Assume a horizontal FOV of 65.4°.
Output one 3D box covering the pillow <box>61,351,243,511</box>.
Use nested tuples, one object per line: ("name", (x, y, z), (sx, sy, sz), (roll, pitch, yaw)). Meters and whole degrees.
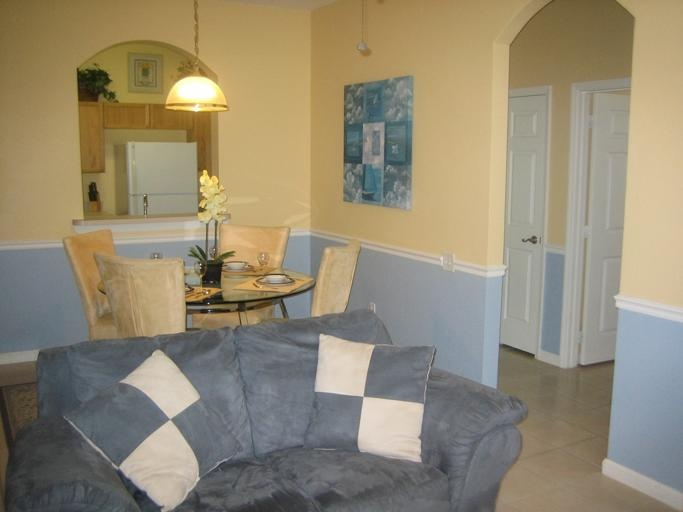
("pillow", (-0.785, 0.704, 2.253), (0.474, 0.483, 0.508), (6, 13, 23))

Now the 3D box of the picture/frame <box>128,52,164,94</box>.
("picture/frame", (-2.480, -2.312, 6.681), (0.523, 0.480, 0.035), (-6, 25, -18))

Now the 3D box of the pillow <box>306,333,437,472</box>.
("pillow", (0.076, 0.641, 2.342), (0.537, 0.517, 0.167), (4, -14, 19))

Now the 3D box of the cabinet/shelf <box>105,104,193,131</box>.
("cabinet/shelf", (-2.379, -1.725, 6.582), (1.075, 0.298, 0.080), (-5, 14, -29))

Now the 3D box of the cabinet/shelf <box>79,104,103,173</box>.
("cabinet/shelf", (-2.943, -1.395, 6.283), (0.263, 0.831, 0.303), (-4, 13, -23))

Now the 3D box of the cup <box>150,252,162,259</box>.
("cup", (-1.242, -0.001, 3.575), (0.060, 0.045, 0.062), (1, 0, 0))

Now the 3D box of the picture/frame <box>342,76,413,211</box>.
("picture/frame", (0.321, -0.959, 4.468), (0.051, 1.292, 1.115), (-5, 9, -35))

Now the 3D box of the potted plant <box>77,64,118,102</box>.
("potted plant", (-2.908, -2.066, 6.327), (0.410, 0.454, 0.385), (-4, 13, -22))

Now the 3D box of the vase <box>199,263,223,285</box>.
("vase", (-0.899, 0.123, 3.662), (0.153, 0.122, 0.136), (-2, 5, -23))
